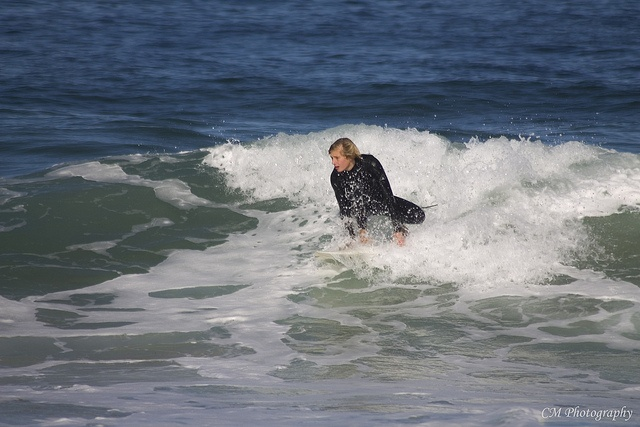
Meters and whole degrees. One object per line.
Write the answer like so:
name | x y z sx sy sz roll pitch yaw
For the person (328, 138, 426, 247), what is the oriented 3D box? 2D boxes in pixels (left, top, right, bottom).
person | 0.832 -0.380 17.151 1.406 1.886 0.482 3 12 0
